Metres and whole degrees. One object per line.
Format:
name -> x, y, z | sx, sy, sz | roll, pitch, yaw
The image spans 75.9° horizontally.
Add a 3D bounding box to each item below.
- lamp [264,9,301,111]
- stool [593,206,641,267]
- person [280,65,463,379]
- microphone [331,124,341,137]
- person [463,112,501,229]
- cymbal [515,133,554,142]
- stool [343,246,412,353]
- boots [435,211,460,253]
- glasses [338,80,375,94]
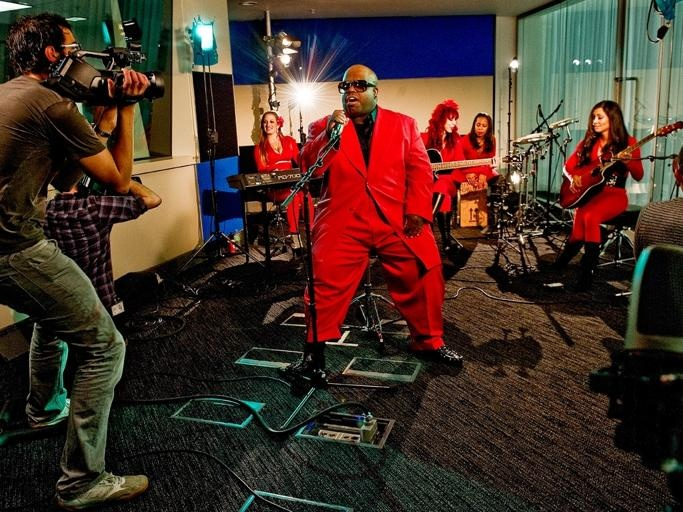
lamp -> -1.106, -3.582, 7.763 | 0.530, 1.315, 0.562 | 9, 19, 33
stool -> 2.976, -0.200, 4.667 | 0.516, 0.573, 0.565 | 1, 1, 5
person -> 0.178, -0.173, 2.703 | 1.028, 1.902, 0.495 | -6, 13, -19
microphone -> -0.022, -0.644, 2.240 | 0.060, 0.065, 0.077 | -2, 12, 0
person -> 1.869, -1.209, 5.996 | 0.649, 1.601, 0.246 | 3, -3, 6
cymbal -> 2.604, -1.605, 5.942 | 0.425, 0.146, 0.817 | 4, 13, 24
stool -> 0.218, 0.285, 3.617 | 0.630, 0.617, 0.584 | 1, -14, -18
boots -> 1.423, -0.321, 5.861 | 0.209, 0.652, 0.218 | -14, 45, 40
glasses -> 0.096, -0.982, 2.534 | 0.229, 0.064, 0.123 | -3, 12, -7
